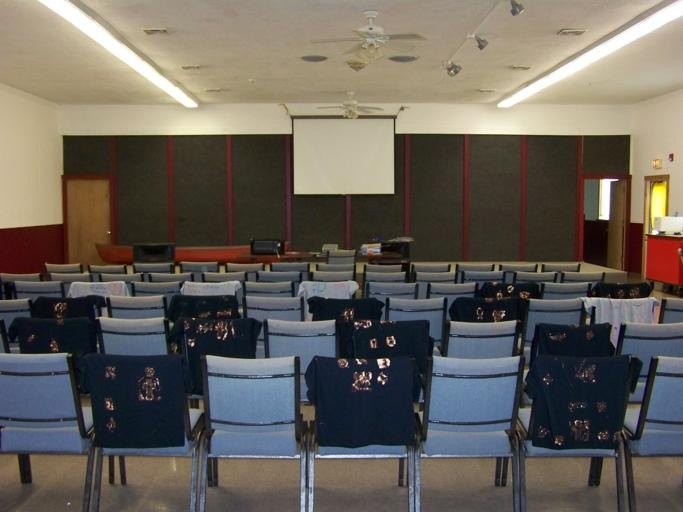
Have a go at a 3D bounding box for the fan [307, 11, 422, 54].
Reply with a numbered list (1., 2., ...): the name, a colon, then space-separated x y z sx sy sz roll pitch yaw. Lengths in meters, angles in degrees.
1. fan: 0.339 -2.735 7.095 1.335 0.496 1.371 -16 25 -33

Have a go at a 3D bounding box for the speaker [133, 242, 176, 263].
1. speaker: -3.522 -0.062 11.019 0.678 0.381 0.444 2 -8 -7
